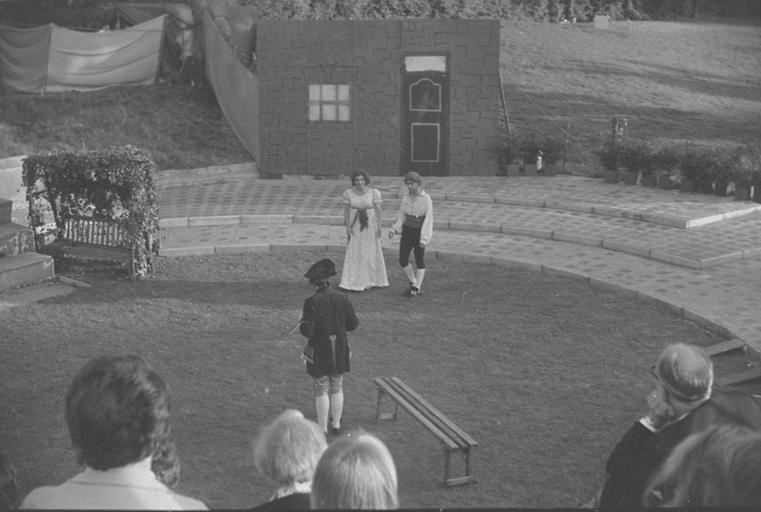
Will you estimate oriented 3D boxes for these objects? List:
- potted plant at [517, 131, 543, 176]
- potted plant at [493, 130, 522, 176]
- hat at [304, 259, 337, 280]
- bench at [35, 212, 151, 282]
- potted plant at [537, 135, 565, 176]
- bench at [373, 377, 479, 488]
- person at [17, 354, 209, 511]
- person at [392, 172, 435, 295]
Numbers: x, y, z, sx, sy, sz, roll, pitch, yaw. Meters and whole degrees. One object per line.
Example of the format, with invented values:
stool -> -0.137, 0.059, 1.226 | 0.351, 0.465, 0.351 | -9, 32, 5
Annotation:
potted plant -> 3.372, -2.270, 19.813 | 0.784, 1.047, 0.761 | 0, 18, 18
potted plant -> 2.811, -2.241, 19.544 | 0.636, 0.891, 0.420 | 2, 10, 6
hat -> -0.738, 0.169, 11.039 | 0.343, 0.287, 0.266 | 1, 14, 2
bench -> -5.128, -0.219, 15.785 | 1.581, 0.876, 0.550 | 4, 17, 15
potted plant -> 3.756, -2.195, 19.607 | 0.617, 0.832, 0.388 | 3, 14, 13
bench -> 0.385, 2.034, 11.238 | 0.557, 0.649, 2.389 | -7, 18, -24
person -> -2.214, 1.512, 7.426 | 1.212, 1.306, 0.371 | -4, 14, -14
person -> 0.503, -0.359, 14.621 | 0.651, 2.043, 0.543 | 1, 14, 3
